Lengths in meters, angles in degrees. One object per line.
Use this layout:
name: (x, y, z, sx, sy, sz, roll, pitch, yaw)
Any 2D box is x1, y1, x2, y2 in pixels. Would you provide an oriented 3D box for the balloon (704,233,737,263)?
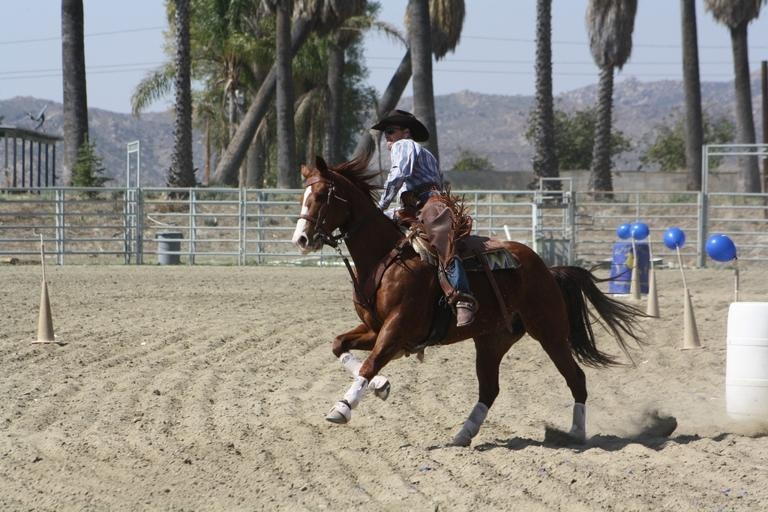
balloon: (8.091, -0.144, 28.919, 0.724, 0.589, 0.574, 30, 30, 26)

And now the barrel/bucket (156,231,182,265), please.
barrel/bucket: (-7.166, -0.230, 40.341, 0.987, 1.415, 0.988, -1, -3, 0)

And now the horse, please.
horse: (2.200, 1.303, 26.734, 8.670, 6.171, 1.993, 5, -13, -23)

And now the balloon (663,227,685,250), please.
balloon: (7.492, -0.446, 31.053, 0.459, 0.482, 0.639, -24, 18, 10)

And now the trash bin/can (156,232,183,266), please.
trash bin/can: (-7.163, -0.208, 40.373, 0.980, 1.396, 0.987, 0, -3, 2)
